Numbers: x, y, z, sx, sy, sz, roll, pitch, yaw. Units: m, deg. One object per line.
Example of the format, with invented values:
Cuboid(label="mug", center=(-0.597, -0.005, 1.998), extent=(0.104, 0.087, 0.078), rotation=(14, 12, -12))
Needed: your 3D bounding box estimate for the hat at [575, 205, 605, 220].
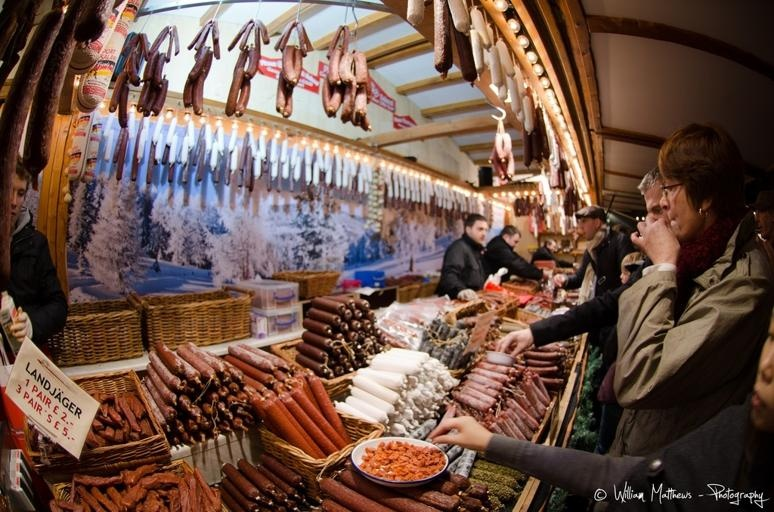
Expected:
Cuboid(label="hat", center=(1.735, -0.386, 4.025), extent=(0.168, 0.074, 0.122), rotation=(10, -1, 36))

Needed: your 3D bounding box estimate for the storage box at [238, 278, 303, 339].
Cuboid(label="storage box", center=(-1.017, 0.429, 4.230), extent=(0.471, 0.359, 0.484), rotation=(2, 2, 42))

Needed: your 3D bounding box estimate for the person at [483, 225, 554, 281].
Cuboid(label="person", center=(1.847, -0.055, 6.805), extent=(0.949, 0.745, 0.712), rotation=(7, 4, 9))

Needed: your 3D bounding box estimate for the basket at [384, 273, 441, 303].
Cuboid(label="basket", center=(0.395, 0.476, 7.554), extent=(0.404, 0.238, 0.762), rotation=(2, 4, 22))

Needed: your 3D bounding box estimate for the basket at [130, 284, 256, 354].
Cuboid(label="basket", center=(-1.501, 0.491, 3.770), extent=(0.746, 0.320, 0.561), rotation=(2, -3, -41))

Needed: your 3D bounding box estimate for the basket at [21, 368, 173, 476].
Cuboid(label="basket", center=(-1.181, 0.747, 2.023), extent=(0.422, 0.126, 0.413), rotation=(13, 24, -48))

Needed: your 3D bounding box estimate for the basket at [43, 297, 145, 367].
Cuboid(label="basket", center=(-2.033, 0.567, 3.507), extent=(0.643, 0.347, 0.512), rotation=(-6, -1, -1))

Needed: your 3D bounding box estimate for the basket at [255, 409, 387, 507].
Cuboid(label="basket", center=(-0.313, 0.891, 2.131), extent=(0.355, 0.149, 0.420), rotation=(7, -3, 28))
